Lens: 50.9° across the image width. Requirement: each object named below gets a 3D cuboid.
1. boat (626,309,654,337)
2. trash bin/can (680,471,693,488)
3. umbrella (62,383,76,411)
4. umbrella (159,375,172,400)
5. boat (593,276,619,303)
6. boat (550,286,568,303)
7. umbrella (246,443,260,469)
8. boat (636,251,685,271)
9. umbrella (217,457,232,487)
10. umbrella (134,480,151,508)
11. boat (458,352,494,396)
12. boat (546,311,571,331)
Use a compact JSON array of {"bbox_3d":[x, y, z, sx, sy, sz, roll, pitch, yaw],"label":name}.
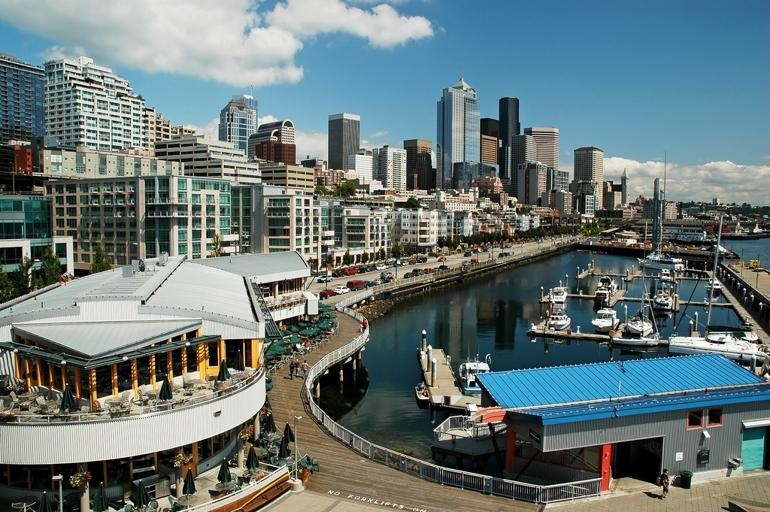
[{"bbox_3d":[35.177,9.675,111.942,4.022,2.630,3.061,-5,6,-44],"label":"boat"},{"bbox_3d":[24.727,18.149,66.130,1.099,1.299,1.168,1,11,3],"label":"trash bin/can"},{"bbox_3d":[-24.131,10.952,61.963,0.982,1.959,0.577,-3,5,-26],"label":"umbrella"},{"bbox_3d":[-17.330,10.497,64.029,0.944,1.853,1.121,16,27,17],"label":"umbrella"},{"bbox_3d":[38.074,6.168,141.335,2.774,3.709,10.075,1,1,21],"label":"boat"},{"bbox_3d":[29.361,6.813,136.704,2.162,2.256,4.212,1,5,24],"label":"boat"},{"bbox_3d":[-10.764,16.315,66.168,0.945,1.889,2.274,-2,4,-8],"label":"umbrella"},{"bbox_3d":[65.208,1.392,190.345,6.934,3.220,4.164,6,5,42],"label":"boat"},{"bbox_3d":[-12.643,16.972,63.971,0.997,1.873,1.366,-2,4,-13],"label":"umbrella"},{"bbox_3d":[-18.353,18.052,61.393,1.062,1.828,0.741,-2,4,-10],"label":"umbrella"},{"bbox_3d":[10.245,13.571,91.308,2.321,4.003,7.313,0,0,3],"label":"boat"},{"bbox_3d":[24.707,9.469,115.133,2.969,1.794,3.557,0,5,20],"label":"boat"}]
